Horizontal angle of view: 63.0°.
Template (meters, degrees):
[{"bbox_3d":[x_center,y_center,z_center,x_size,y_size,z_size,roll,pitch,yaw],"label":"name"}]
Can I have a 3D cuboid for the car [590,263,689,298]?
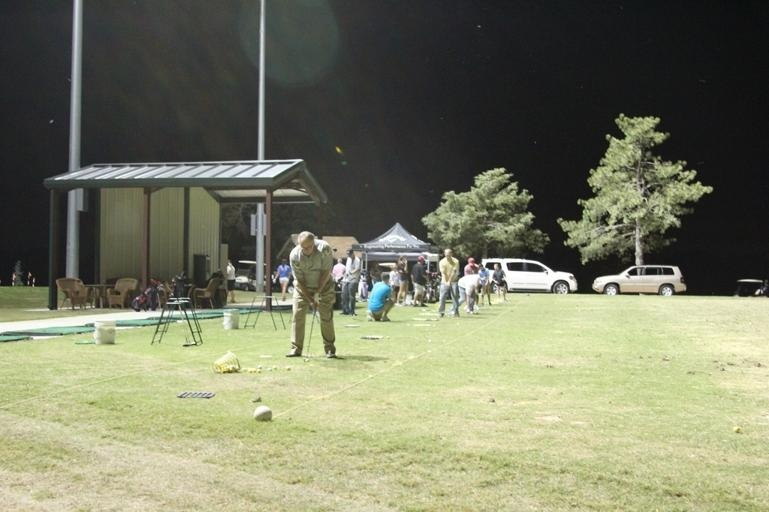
[{"bbox_3d":[16.006,1.448,39.143,4.986,1.891,2.145,2,-4,8],"label":"car"}]

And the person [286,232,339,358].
[{"bbox_3d":[-1.318,0.676,11.568,0.887,2.354,1.358,2,-3,-8],"label":"person"}]

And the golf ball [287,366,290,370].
[{"bbox_3d":[-1.601,1.872,10.454,0.075,0.042,0.094,2,-3,-10],"label":"golf ball"}]

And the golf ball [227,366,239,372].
[{"bbox_3d":[-2.456,1.843,10.266,0.191,0.102,0.097,4,-4,-37],"label":"golf ball"}]

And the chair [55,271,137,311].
[{"bbox_3d":[-10.073,1.306,22.079,2.612,1.077,1.325,3,-4,-22],"label":"chair"}]

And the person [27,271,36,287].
[{"bbox_3d":[-21.260,1.329,37.616,0.459,0.774,0.754,3,-4,-27],"label":"person"}]

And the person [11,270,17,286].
[{"bbox_3d":[-21.984,1.309,37.161,0.178,0.760,1.259,4,-4,-34],"label":"person"}]
